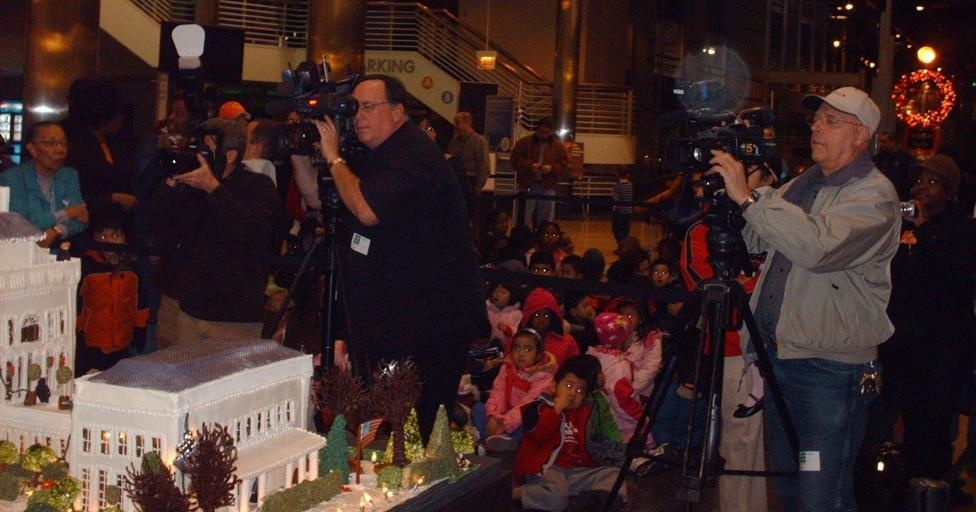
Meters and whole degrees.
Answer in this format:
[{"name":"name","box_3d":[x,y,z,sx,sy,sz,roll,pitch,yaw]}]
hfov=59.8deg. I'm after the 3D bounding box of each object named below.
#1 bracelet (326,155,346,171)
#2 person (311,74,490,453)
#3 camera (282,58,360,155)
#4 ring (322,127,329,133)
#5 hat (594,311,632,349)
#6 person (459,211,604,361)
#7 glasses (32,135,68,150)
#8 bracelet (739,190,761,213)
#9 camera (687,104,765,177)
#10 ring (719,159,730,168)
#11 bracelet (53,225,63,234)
[{"name":"bracelet","box_3d":[-1.062,-0.643,5.909,0.110,0.069,0.116,-23,-13,36]},{"name":"person","box_3d":[-0.603,0.038,6.019,1.145,2.618,0.433,1,2,-1]},{"name":"camera","box_3d":[-1.256,-1.075,6.082,0.588,0.575,0.678,5,14,-29]},{"name":"ring","box_3d":[-1.137,-0.887,5.860,0.072,0.047,0.013,1,2,-6]},{"name":"hat","box_3d":[1.161,0.698,8.132,0.394,0.288,0.274,9,10,5]},{"name":"person","box_3d":[0.470,0.377,8.761,0.958,1.125,0.623,1,-10,-5]},{"name":"glasses","box_3d":[-3.943,-1.032,7.597,0.228,0.162,0.156,-6,14,4]},{"name":"bracelet","box_3d":[1.685,-0.359,5.514,0.099,0.135,0.128,37,-30,15]},{"name":"camera","box_3d":[1.715,-0.881,5.714,0.339,0.321,0.552,29,54,32]},{"name":"ring","box_3d":[1.535,-0.612,5.488,0.055,0.024,0.027,12,-10,29]},{"name":"bracelet","box_3d":[-3.835,-0.252,7.526,0.056,0.086,0.142,1,2,-6]}]
